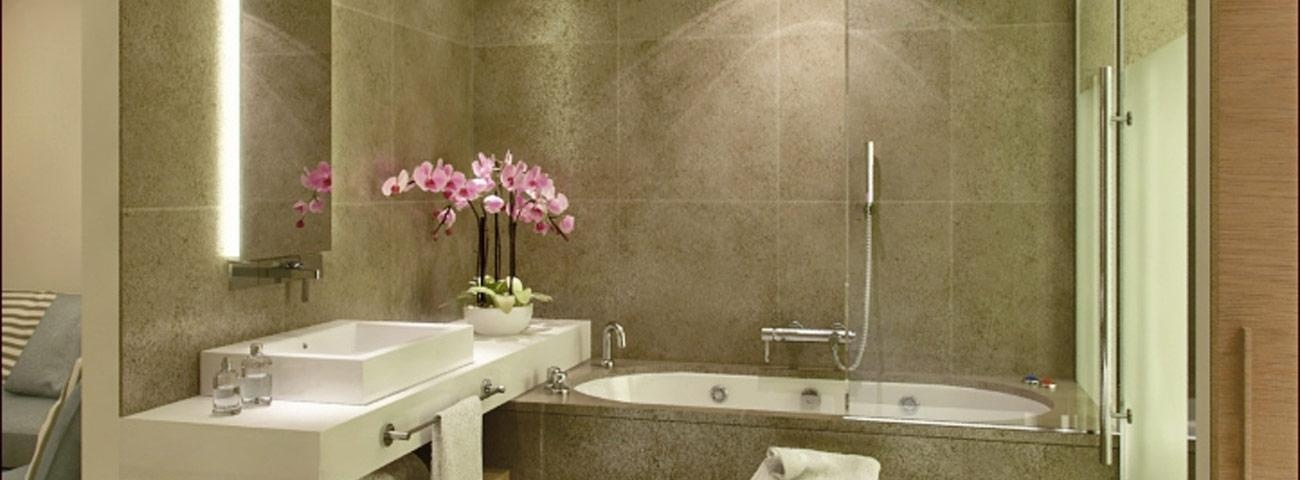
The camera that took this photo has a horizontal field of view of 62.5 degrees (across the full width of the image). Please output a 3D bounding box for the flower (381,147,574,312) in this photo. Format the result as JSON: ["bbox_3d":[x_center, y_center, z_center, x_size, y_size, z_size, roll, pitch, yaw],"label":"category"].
[{"bbox_3d":[-1.334,-0.090,8.666,1.116,1.296,1.200,-1,-2,22],"label":"flower"}]

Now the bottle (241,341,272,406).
[{"bbox_3d":[-2.709,0.919,7.354,0.200,0.419,0.068,0,-2,-17],"label":"bottle"}]

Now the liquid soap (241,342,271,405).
[{"bbox_3d":[-2.708,0.919,7.354,0.199,0.419,0.067,0,-2,-17],"label":"liquid soap"}]

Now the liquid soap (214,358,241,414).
[{"bbox_3d":[-2.884,0.992,7.310,0.165,0.380,0.186,-2,-2,37],"label":"liquid soap"}]
